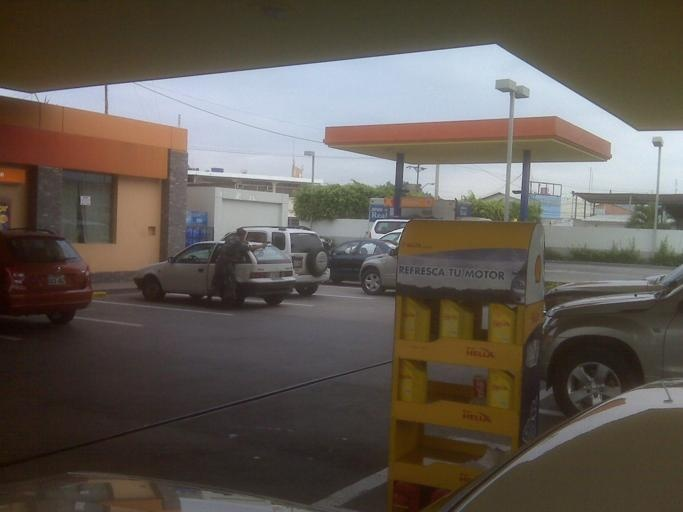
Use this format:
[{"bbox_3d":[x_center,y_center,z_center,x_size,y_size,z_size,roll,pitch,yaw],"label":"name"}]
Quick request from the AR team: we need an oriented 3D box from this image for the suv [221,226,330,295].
[{"bbox_3d":[-1.618,-0.075,13.749,2.103,1.202,1.192,11,11,41],"label":"suv"}]

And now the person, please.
[{"bbox_3d":[-2.317,0.197,11.945,0.772,1.575,0.417,1,0,-8],"label":"person"}]

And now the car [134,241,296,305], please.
[{"bbox_3d":[-2.747,0.361,12.234,2.436,1.080,1.495,4,4,19],"label":"car"}]

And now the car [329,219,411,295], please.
[{"bbox_3d":[0.680,0.213,16.015,2.285,1.223,1.386,4,4,27],"label":"car"}]
